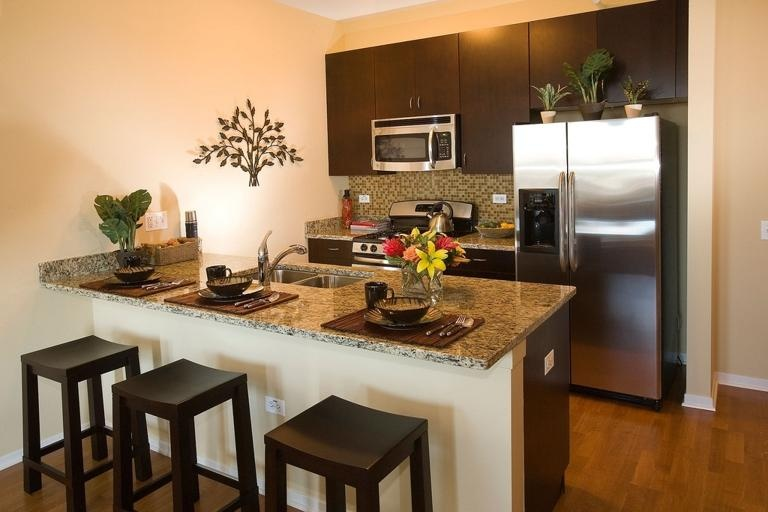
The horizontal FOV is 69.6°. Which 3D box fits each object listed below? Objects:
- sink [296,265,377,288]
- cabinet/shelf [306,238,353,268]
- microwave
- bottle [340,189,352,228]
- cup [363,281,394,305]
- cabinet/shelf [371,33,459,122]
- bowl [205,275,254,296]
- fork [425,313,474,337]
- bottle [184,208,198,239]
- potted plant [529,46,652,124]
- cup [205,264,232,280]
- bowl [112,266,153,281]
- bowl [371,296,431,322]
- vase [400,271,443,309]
[{"bbox_3d":[-0.337,0.165,4.099,0.252,0.124,0.321,9,19,35],"label":"sink"},{"bbox_3d":[-0.528,-0.043,5.565,0.422,0.395,0.286,4,7,27],"label":"cabinet/shelf"},{"bbox_3d":[0.305,-1.073,5.327,0.880,0.576,0.517,4,8,31],"label":"microwave"},{"bbox_3d":[-0.395,-0.516,5.993,0.141,0.403,0.301,-6,12,-4],"label":"bottle"},{"bbox_3d":[-0.038,0.206,3.161,0.106,0.123,0.162,-7,9,-35],"label":"cup"},{"bbox_3d":[0.325,-1.694,5.291,0.868,0.732,0.338,5,9,28],"label":"cabinet/shelf"},{"bbox_3d":[-0.946,0.183,3.422,0.253,0.097,0.255,-5,12,1],"label":"bowl"},{"bbox_3d":[0.351,0.336,2.846,0.093,0.030,0.288,6,13,33],"label":"fork"},{"bbox_3d":[-1.558,-0.254,4.477,0.101,0.217,0.071,-10,13,-25],"label":"bottle"},{"bbox_3d":[1.656,-1.340,4.453,1.087,0.652,0.438,0,10,18],"label":"potted plant"},{"bbox_3d":[-1.054,0.104,3.582,0.169,0.119,0.113,0,4,-5],"label":"cup"},{"bbox_3d":[-1.684,0.121,3.738,0.227,0.091,0.192,-11,13,-29],"label":"bowl"},{"bbox_3d":[0.106,0.287,2.959,0.289,0.091,0.257,-4,12,6],"label":"bowl"},{"bbox_3d":[0.231,0.184,3.249,0.212,0.213,0.210,-2,8,-2],"label":"vase"}]
